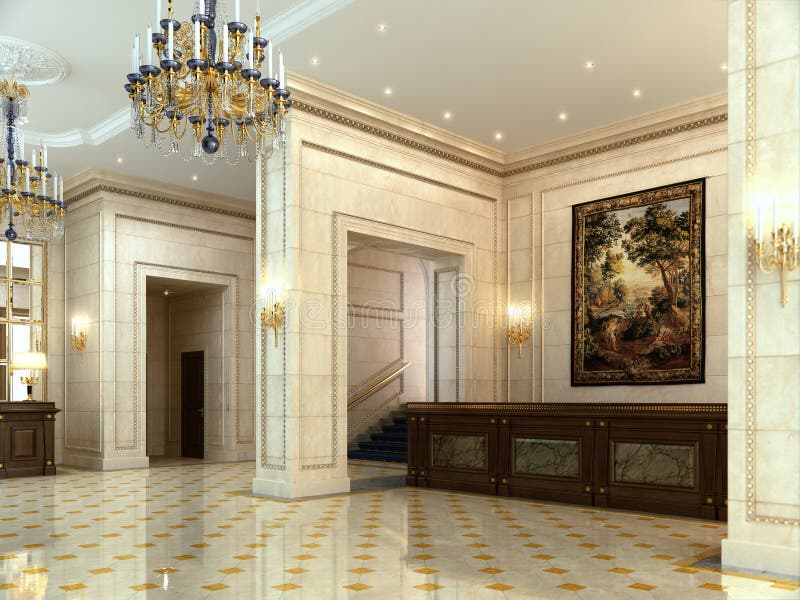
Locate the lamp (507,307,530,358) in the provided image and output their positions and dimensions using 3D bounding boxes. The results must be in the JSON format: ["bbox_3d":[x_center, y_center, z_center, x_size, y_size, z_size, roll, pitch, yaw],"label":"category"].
[{"bbox_3d":[2.484,0.656,13.811,0.448,0.729,0.221,-4,-6,20],"label":"lamp"}]

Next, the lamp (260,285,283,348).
[{"bbox_3d":[-2.096,0.262,10.966,0.491,1.040,0.137,-3,-6,33],"label":"lamp"}]

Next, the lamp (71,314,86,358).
[{"bbox_3d":[-7.175,0.754,14.831,0.210,0.885,0.552,5,-7,-42],"label":"lamp"}]
